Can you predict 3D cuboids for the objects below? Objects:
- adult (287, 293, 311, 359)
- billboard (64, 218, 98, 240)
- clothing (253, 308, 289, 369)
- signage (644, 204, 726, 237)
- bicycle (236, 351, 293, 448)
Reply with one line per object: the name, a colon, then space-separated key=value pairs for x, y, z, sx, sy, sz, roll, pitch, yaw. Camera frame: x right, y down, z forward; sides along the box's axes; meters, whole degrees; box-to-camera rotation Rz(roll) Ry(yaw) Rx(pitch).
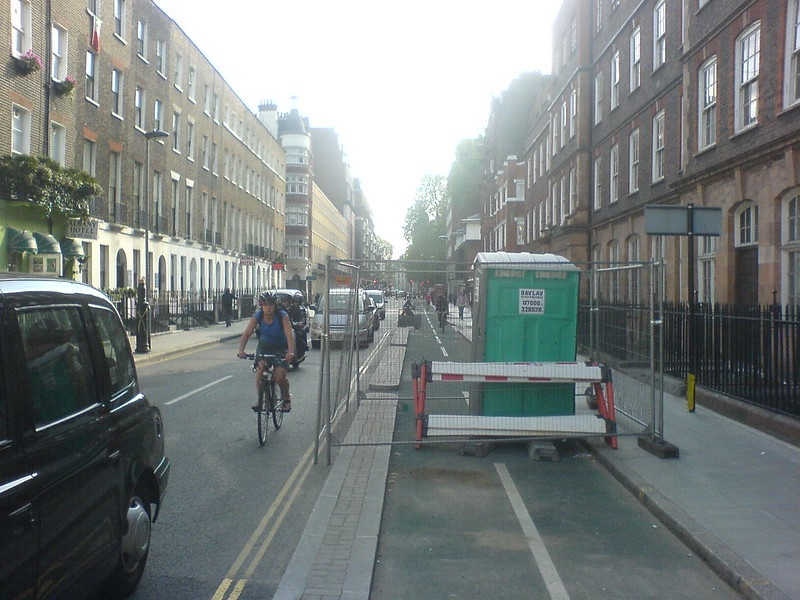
adult: x=-2.406 y=0.479 z=18.373 sx=0.492 sy=1.894 sz=0.522 roll=-2 pitch=32 yaw=-13
billboard: x=-10.540 y=-2.342 z=26.615 sx=0.761 sy=0.716 sz=1.602 roll=-6 pitch=11 yaw=-35
clothing: x=-1.890 y=0.579 z=12.015 sx=0.507 sy=0.925 sz=0.533 roll=4 pitch=-4 yaw=-22
signage: x=3.955 y=-1.116 z=11.310 sx=1.246 sy=0.436 sz=0.438 roll=-4 pitch=10 yaw=-23
bicycle: x=-1.919 y=1.414 z=11.768 sx=0.507 sy=1.321 sz=1.408 roll=1 pitch=9 yaw=7
